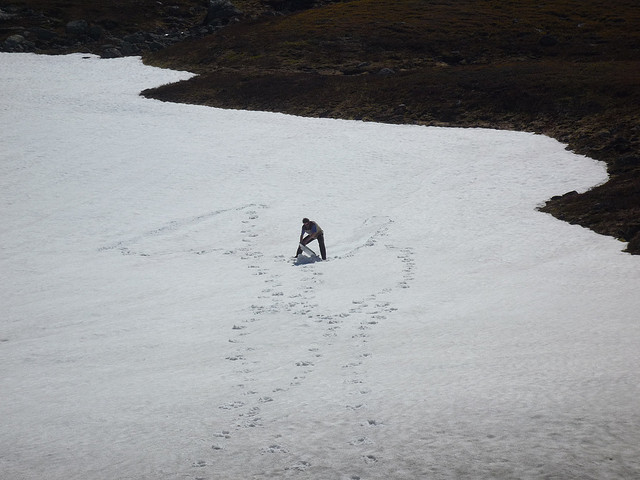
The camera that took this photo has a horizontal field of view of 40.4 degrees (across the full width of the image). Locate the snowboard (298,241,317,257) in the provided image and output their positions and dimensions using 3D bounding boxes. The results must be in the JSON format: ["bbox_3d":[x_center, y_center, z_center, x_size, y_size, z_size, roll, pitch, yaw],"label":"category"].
[{"bbox_3d":[-0.617,0.248,37.886,1.197,0.363,0.217,26,34,8],"label":"snowboard"}]
